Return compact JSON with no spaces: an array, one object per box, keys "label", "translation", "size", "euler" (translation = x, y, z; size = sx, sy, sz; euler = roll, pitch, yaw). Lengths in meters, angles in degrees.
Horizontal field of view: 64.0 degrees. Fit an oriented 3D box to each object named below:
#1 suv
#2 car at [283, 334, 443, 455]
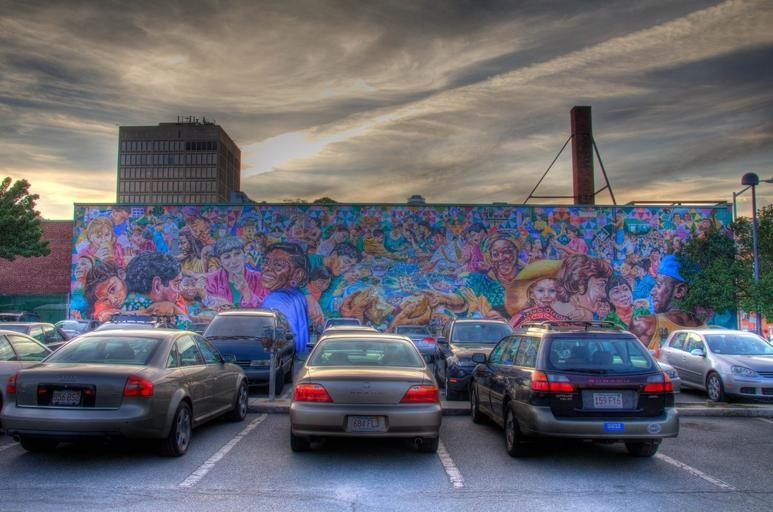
[{"label":"suv","translation":[3.033,2.295,11.842],"size":[2.072,1.425,3.595],"euler":[2,-10,-8]},{"label":"car","translation":[-0.358,2.526,10.781],"size":[2.504,1.857,1.334],"euler":[0,-1,-3]}]
